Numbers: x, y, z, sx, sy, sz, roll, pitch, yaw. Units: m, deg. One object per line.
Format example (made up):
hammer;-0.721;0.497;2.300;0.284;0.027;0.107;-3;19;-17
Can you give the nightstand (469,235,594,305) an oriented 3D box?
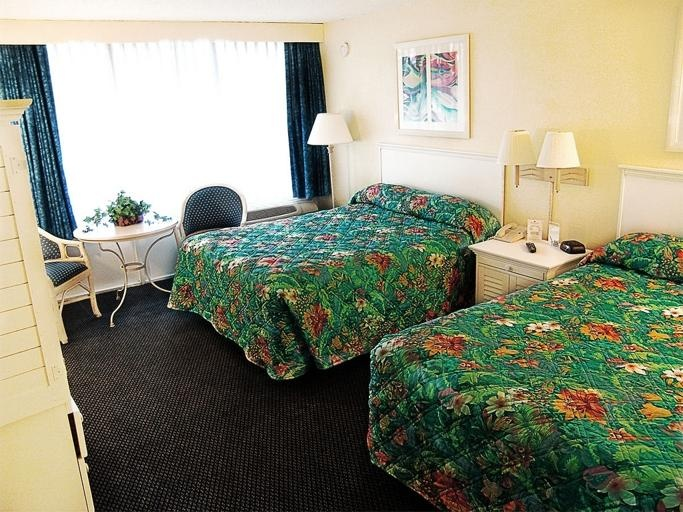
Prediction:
nightstand;1.547;0.195;4.118;0.647;0.777;0.547;14;40;29

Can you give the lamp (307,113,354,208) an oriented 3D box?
lamp;-0.154;-1.267;6.022;0.524;1.824;0.504;0;31;1

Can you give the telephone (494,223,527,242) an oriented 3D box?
telephone;1.541;-0.196;4.223;0.252;0.074;0.180;-21;30;-30

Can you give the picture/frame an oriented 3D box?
picture/frame;0.953;-1.756;4.785;0.048;1.099;1.144;-19;22;-39

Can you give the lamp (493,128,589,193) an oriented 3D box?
lamp;1.679;-0.787;3.878;0.246;0.387;0.585;-23;28;-33

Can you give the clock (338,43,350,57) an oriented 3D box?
clock;0.025;-2.518;5.738;0.045;0.170;0.169;-14;22;-30

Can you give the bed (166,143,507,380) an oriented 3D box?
bed;-0.050;-0.146;4.563;2.691;1.330;2.201;-17;24;-37
